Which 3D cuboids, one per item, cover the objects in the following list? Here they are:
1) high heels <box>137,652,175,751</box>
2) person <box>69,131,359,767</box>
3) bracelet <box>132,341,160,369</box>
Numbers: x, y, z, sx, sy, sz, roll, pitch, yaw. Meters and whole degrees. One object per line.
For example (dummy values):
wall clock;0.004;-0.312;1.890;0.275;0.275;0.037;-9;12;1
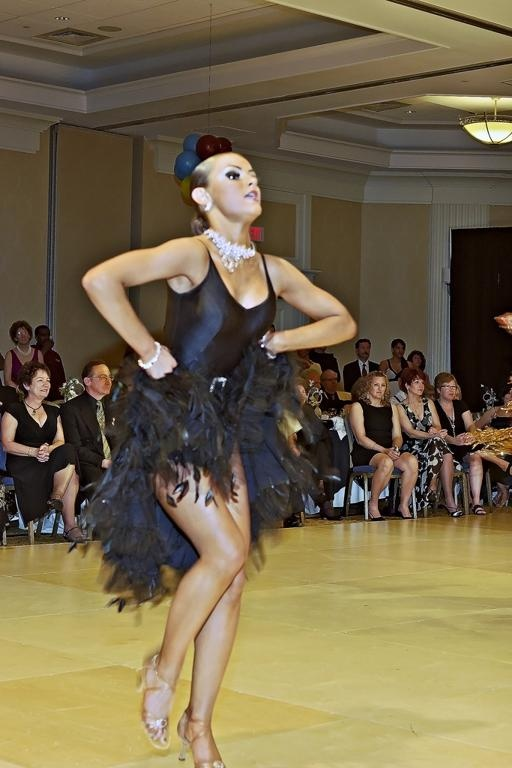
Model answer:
high heels;-0.166;0.512;1.037;0.070;0.159;0.056;0;6;33
person;-0.138;0.088;1.135;0.381;1.028;0.625;-8;-16;38
bracelet;-0.184;-0.044;1.003;0.019;0.044;0.038;28;10;17
